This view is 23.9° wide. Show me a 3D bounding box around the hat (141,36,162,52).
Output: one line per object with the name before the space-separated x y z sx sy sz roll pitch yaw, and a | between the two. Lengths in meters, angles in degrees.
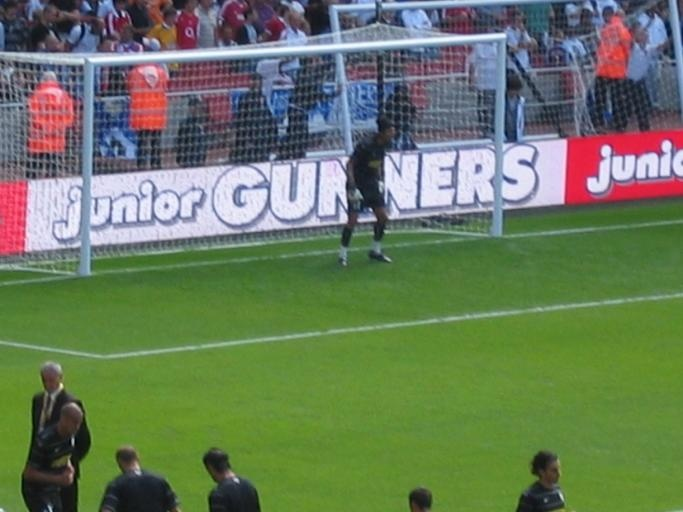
hat | -3.143 -3.488 26.332 0.354 0.165 0.293 25 4 23

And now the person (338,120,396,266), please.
person | 0.346 -0.924 22.819 0.777 2.095 1.070 -1 0 -1

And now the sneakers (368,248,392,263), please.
sneakers | 0.557 -0.008 23.289 0.413 0.158 0.136 18 22 -4
